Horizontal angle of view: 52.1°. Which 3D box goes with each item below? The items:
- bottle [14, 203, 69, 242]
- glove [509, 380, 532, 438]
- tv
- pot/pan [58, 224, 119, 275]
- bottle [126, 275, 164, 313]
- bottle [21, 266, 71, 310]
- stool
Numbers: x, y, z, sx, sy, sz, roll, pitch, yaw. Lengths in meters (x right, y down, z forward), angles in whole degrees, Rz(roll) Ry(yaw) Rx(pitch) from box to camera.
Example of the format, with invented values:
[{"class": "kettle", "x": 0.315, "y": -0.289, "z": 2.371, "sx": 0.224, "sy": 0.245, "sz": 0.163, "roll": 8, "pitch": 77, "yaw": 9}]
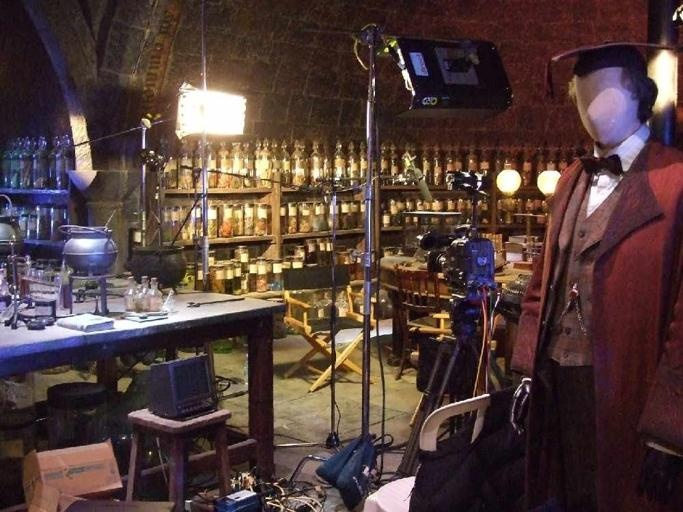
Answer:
[{"class": "bottle", "x": -2.598, "y": -0.285, "z": 6.089, "sx": 0.383, "sy": 0.286, "sz": 0.216, "roll": 1, "pitch": -1, "yaw": 42}, {"class": "glove", "x": 0.690, "y": 0.557, "z": 2.581, "sx": 0.057, "sy": 0.176, "sz": 0.123, "roll": 13, "pitch": -1, "yaw": 22}, {"class": "tv", "x": -0.841, "y": 0.658, "z": 3.653, "sx": 0.269, "sy": 0.345, "sz": 0.328, "roll": -16, "pitch": -10, "yaw": 33}, {"class": "pot/pan", "x": -1.401, "y": -0.053, "z": 3.937, "sx": 0.284, "sy": 0.267, "sz": 0.263, "roll": -8, "pitch": 10, "yaw": -43}, {"class": "bottle", "x": -1.085, "y": 0.228, "z": 3.993, "sx": 0.258, "sy": 0.284, "sz": 0.148, "roll": 1, "pitch": 1, "yaw": 4}, {"class": "bottle", "x": -1.629, "y": 0.183, "z": 3.852, "sx": 0.350, "sy": 0.211, "sz": 0.246, "roll": 4, "pitch": -4, "yaw": 11}, {"class": "stool", "x": -0.779, "y": 0.948, "z": 3.590, "sx": 0.462, "sy": 0.598, "sz": 0.490, "roll": -1, "pitch": -1, "yaw": 41}]
